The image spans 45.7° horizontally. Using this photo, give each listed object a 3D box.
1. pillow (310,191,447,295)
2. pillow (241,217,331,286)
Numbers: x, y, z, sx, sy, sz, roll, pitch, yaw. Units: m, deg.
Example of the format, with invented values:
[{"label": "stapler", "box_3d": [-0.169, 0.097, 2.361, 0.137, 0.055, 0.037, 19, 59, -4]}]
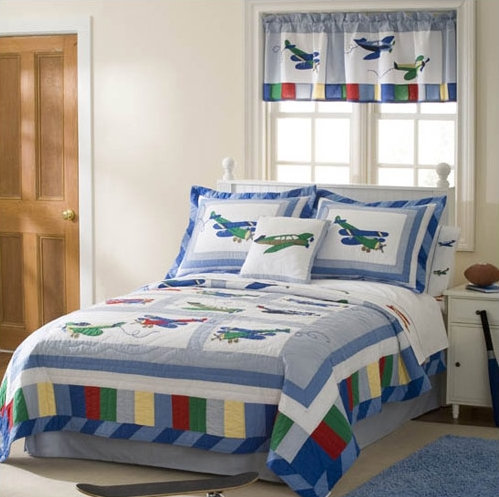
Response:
[{"label": "pillow", "box_3d": [0.594, -0.036, 2.939, 0.678, 0.532, 0.175, 13, -2, 22]}, {"label": "pillow", "box_3d": [0.177, -0.005, 2.871, 0.429, 0.381, 0.125, 1, -32, 33]}]
